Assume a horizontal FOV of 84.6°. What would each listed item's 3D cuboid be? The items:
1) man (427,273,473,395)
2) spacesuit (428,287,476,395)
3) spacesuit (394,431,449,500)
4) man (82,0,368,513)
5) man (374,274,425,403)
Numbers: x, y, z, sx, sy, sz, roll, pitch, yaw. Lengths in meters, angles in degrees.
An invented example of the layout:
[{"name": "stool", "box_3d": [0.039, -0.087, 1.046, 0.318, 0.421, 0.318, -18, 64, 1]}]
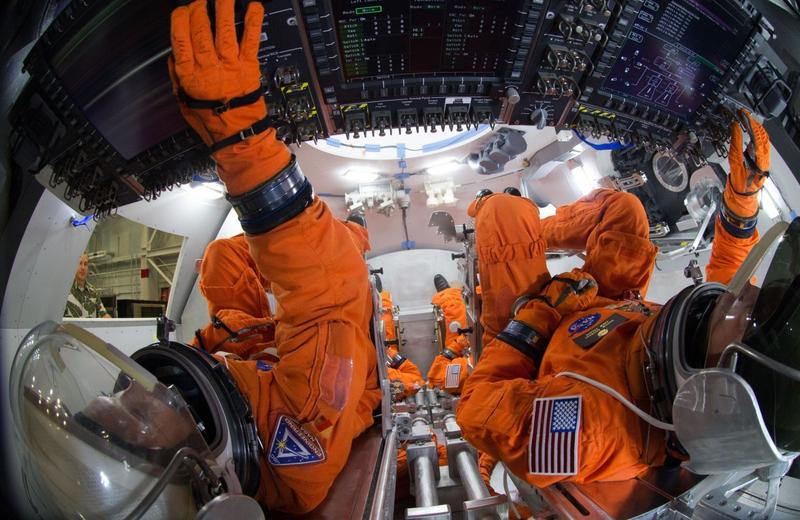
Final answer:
[{"name": "man", "box_3d": [0.821, 1.287, 7.430, 0.611, 1.560, 0.565, -6, -38, 7]}, {"name": "spacesuit", "box_3d": [0.818, 1.376, 7.296, 0.660, 1.369, 0.531, -9, -39, 15]}, {"name": "spacesuit", "box_3d": [0.161, 2.206, 4.511, 0.751, 0.672, 0.167, -5, 1, -34]}, {"name": "man", "box_3d": [-0.904, 0.075, 3.320, 1.504, 3.753, 1.392, -19, -7, 25]}, {"name": "man", "box_3d": [-0.140, 1.377, 7.373, 0.915, 1.962, 0.544, 0, -46, -22]}]
